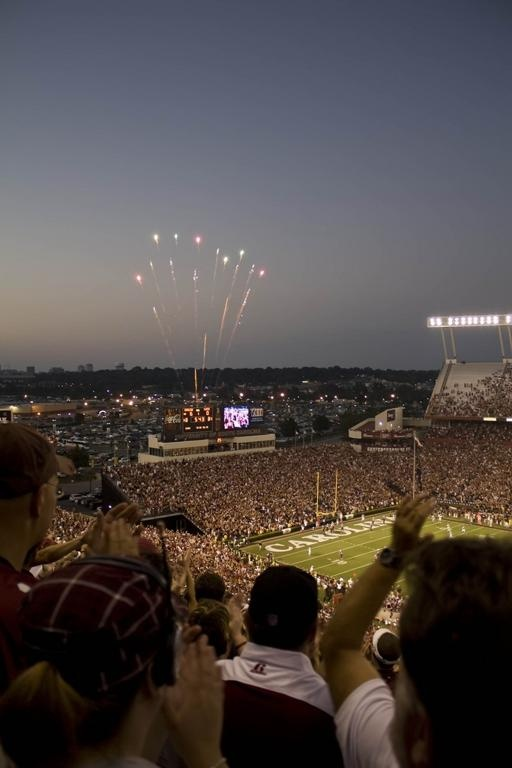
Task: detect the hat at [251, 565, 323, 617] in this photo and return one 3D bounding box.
[{"bbox_3d":[0.139,0.840,2.296,0.189,0.161,0.265,-1,-10,27],"label":"hat"}]
